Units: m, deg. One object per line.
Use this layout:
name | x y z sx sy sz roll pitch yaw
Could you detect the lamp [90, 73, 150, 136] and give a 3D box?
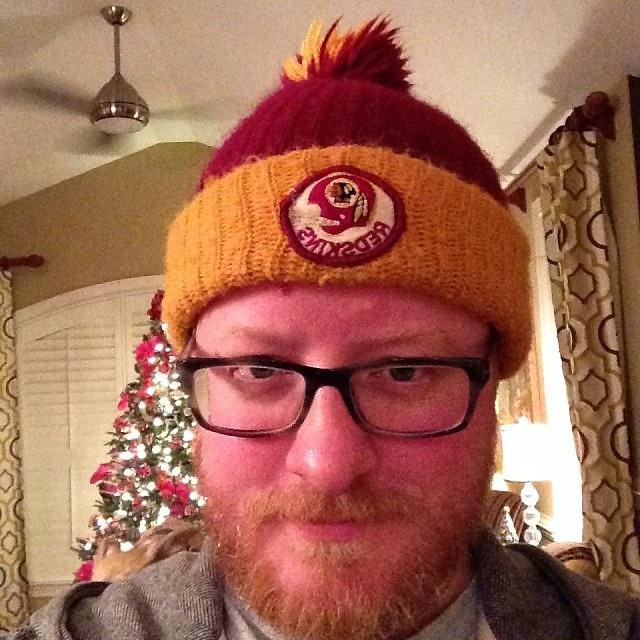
lamp | -0.882 -0.990 4.329 0.341 0.235 0.275 1 -24 -7
